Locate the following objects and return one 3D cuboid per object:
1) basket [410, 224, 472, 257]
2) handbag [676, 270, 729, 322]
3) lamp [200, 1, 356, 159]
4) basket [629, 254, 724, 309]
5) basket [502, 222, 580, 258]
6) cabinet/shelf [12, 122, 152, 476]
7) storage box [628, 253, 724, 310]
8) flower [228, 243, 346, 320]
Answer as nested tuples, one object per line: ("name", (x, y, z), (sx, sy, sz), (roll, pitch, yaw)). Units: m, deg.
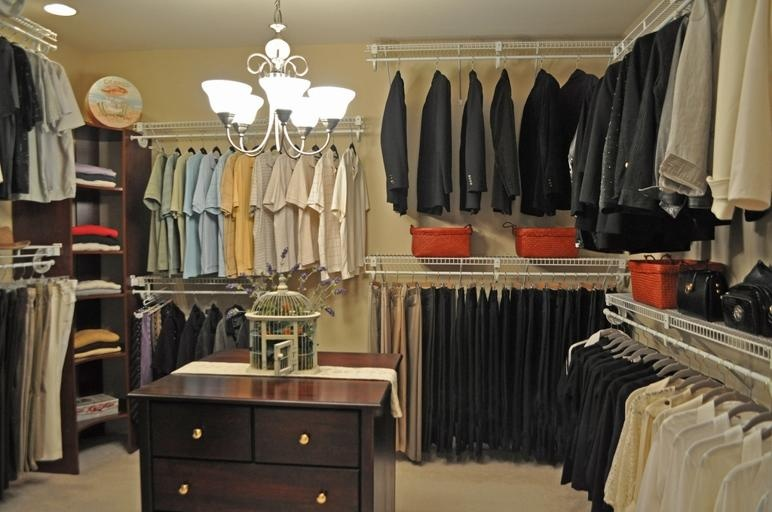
("basket", (0.434, -0.106, 5.068), (0.462, 0.251, 0.166), (-2, 3, -1))
("handbag", (1.823, 0.219, 3.691), (0.155, 0.285, 0.269), (-5, 5, -11))
("lamp", (-0.705, -1.289, 4.708), (1.095, 1.206, 2.134), (-2, 3, -11))
("basket", (1.776, 0.143, 3.996), (0.347, 0.253, 0.440), (0, 2, -13))
("basket", (1.261, -0.106, 5.032), (0.488, 0.244, 0.200), (-1, 3, 10))
("cabinet/shelf", (-2.430, 0.333, 5.140), (0.608, 2.591, 0.594), (-5, 5, -44))
("storage box", (1.830, 0.179, 4.116), (0.419, 0.315, 0.553), (-2, 3, 6))
("flower", (-0.597, 0.312, 4.020), (0.573, 0.423, 0.592), (-22, -22, 38))
